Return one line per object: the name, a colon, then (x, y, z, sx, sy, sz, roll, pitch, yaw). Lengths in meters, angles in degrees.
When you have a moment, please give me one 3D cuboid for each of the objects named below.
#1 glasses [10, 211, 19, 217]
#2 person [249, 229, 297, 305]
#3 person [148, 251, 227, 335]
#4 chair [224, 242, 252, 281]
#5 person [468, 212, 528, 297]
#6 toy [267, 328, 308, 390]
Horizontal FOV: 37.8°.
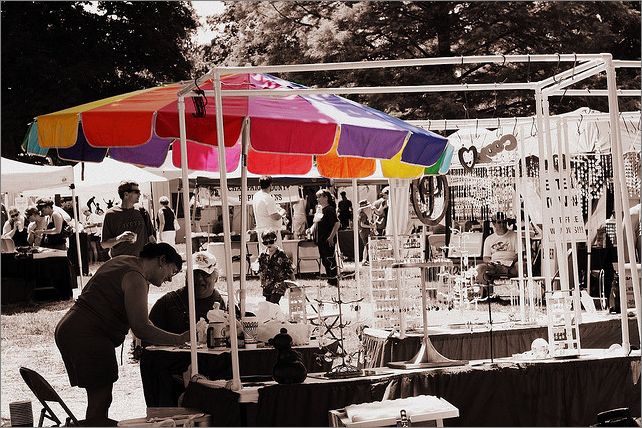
glasses: (-6.556, 0.014, 20.033, 0.102, 0.130, 0.042, -6, -1, 9)
person: (-0.802, 1.114, 15.921, 0.718, 1.757, 0.463, -1, 15, -3)
person: (-1.698, 1.230, 12.895, 1.221, 1.463, 0.810, 9, -11, -20)
chair: (-1.840, 1.031, 21.456, 0.708, 1.208, 0.429, 1, -6, 0)
person: (3.276, 0.746, 17.336, 0.961, 2.074, 1.128, -6, -20, 18)
toy: (-0.422, 1.767, 11.597, 0.486, 0.896, 0.523, -4, -1, 1)
